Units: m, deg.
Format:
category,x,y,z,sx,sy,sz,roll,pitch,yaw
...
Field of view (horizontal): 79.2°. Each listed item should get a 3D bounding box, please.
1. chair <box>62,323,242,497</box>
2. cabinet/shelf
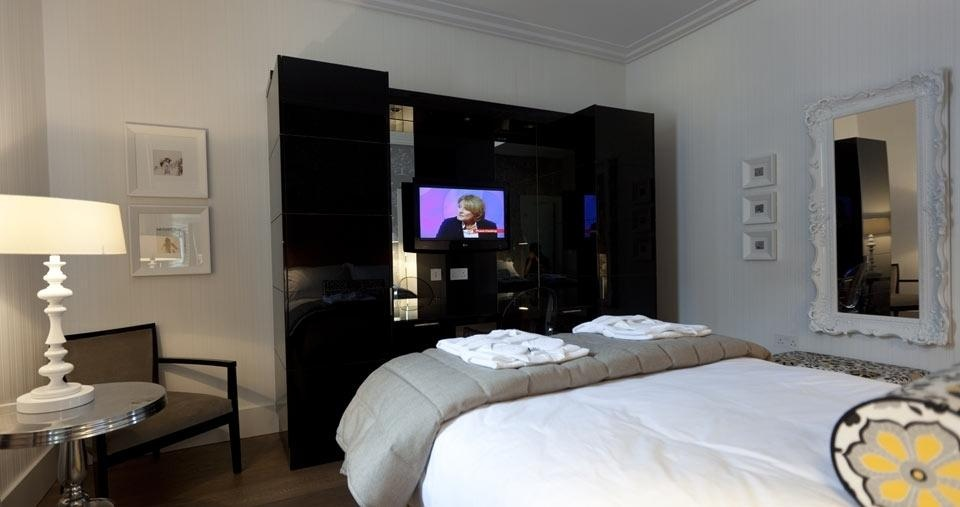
category,x,y,z,sx,sy,sz,roll,pitch,yaw
chair,-2.860,1.286,5.756,1.468,1.738,1.575,-3,-2,37
cabinet/shelf,-0.287,0.086,5.556,4.750,3.513,1.183,0,-2,-28
